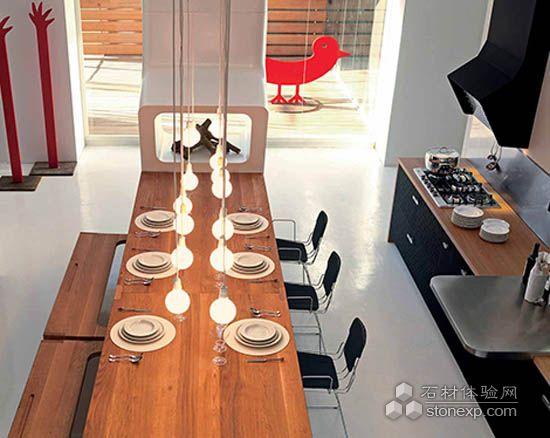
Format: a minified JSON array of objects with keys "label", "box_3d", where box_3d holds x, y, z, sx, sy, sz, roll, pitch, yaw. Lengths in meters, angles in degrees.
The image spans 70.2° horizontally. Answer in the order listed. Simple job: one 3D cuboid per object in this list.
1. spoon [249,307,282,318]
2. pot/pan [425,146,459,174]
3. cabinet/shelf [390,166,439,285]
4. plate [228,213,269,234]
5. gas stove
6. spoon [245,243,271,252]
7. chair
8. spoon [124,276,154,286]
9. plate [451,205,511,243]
[{"label":"spoon","box_3d":[-0.065,0.696,2.905,0.212,0.040,0.091,3,27,-6]},{"label":"pot/pan","box_3d":[1.955,-0.780,4.695,0.302,0.249,0.334,-3,30,0]},{"label":"cabinet/shelf","box_3d":[1.710,0.090,4.763,0.371,0.944,1.102,-3,41,-4]},{"label":"plate","box_3d":[-0.277,0.047,3.945,0.243,0.048,0.270,5,33,5]},{"label":"gas stove","box_3d":[2.122,-0.400,4.601,0.791,0.209,0.807,2,28,2]},{"label":"spoon","box_3d":[-0.160,0.266,3.661,0.208,0.045,0.097,3,34,-4]},{"label":"chair","box_3d":[0.430,0.977,3.684,0.464,0.766,1.719,-1,38,-6]},{"label":"spoon","box_3d":[-1.104,0.503,3.158,0.173,0.034,0.086,2,28,-4]},{"label":"plate","box_3d":[2.060,0.031,3.940,0.296,0.124,0.511,-22,39,-22]}]
